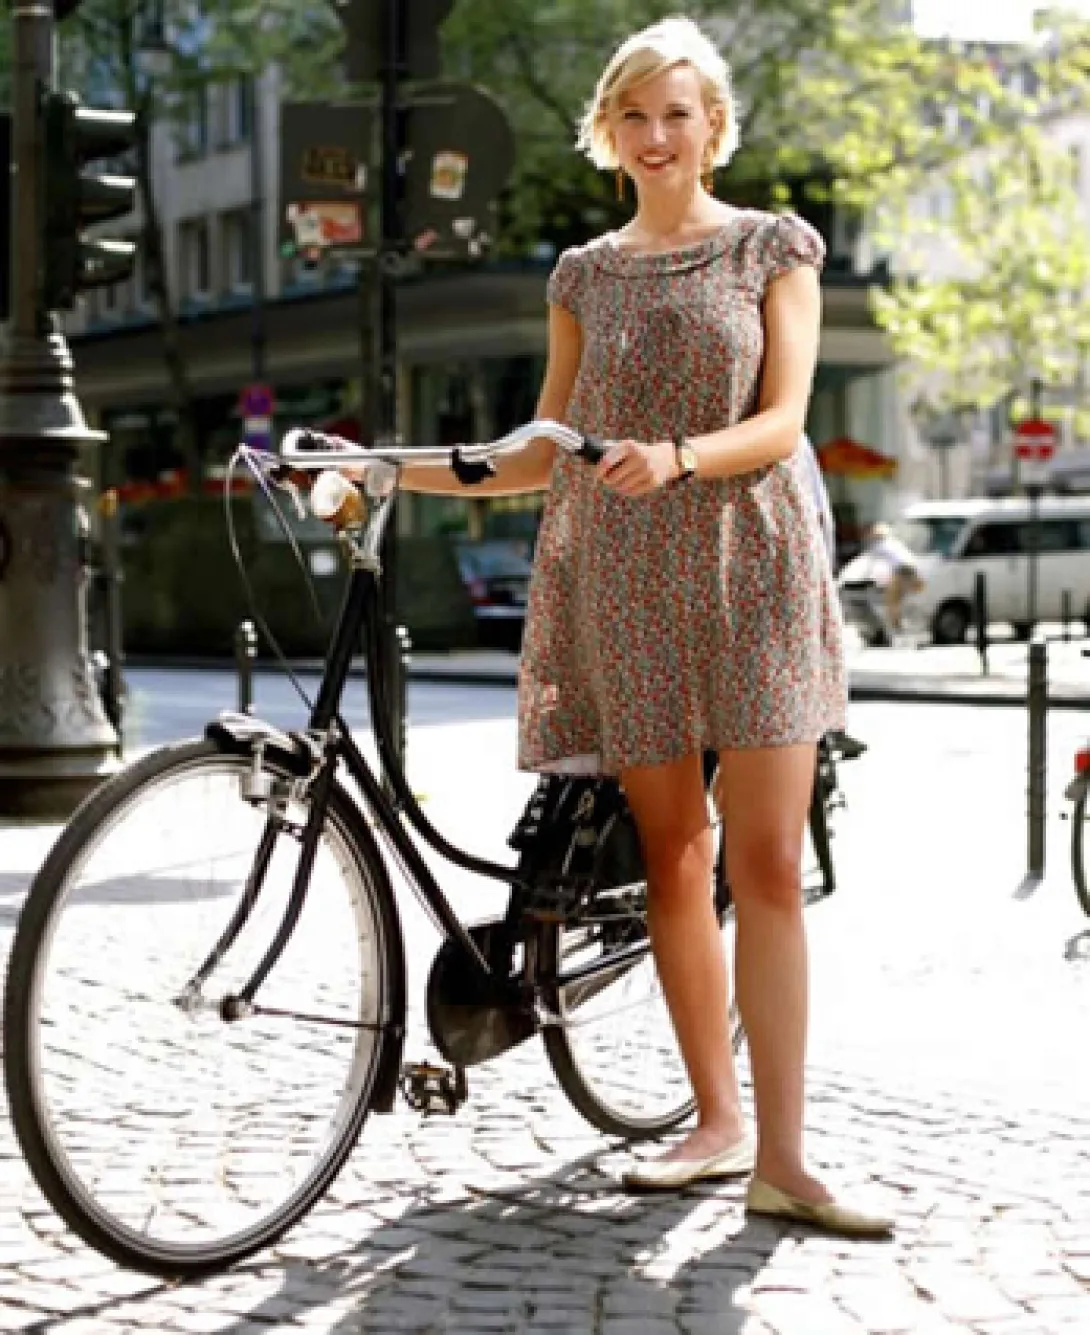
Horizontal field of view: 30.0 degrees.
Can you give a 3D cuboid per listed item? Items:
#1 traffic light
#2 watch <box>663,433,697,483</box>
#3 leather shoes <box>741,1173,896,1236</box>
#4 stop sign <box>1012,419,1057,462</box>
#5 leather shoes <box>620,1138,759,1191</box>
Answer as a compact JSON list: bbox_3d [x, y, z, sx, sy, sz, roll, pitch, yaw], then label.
[{"bbox_3d":[-1.673,-1.762,7.702,0.419,0.776,0.294,18,23,36],"label":"traffic light"},{"bbox_3d":[0.211,-0.326,3.129,0.044,0.063,0.085,1,8,5],"label":"watch"},{"bbox_3d":[0.439,0.861,3.284,0.232,0.055,0.076,2,-5,26],"label":"leather shoes"},{"bbox_3d":[4.504,-2.104,18.676,0.431,0.483,0.367,0,-1,-14],"label":"stop sign"},{"bbox_3d":[0.250,0.852,3.504,0.214,0.051,0.076,1,-4,-26],"label":"leather shoes"}]
